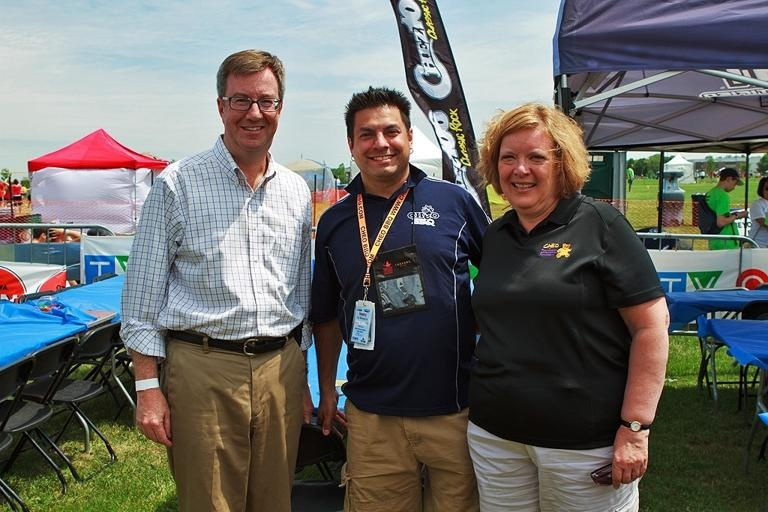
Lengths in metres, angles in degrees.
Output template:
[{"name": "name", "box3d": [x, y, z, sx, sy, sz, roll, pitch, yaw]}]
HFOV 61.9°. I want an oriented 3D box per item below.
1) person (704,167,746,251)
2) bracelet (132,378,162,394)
[{"name": "person", "box3d": [5.397, -0.770, 10.152, 0.560, 1.238, 3.155, 1, 6, 28]}, {"name": "bracelet", "box3d": [-1.473, 0.800, 4.007, 0.142, 0.089, 0.094, -4, 6, -20]}]
